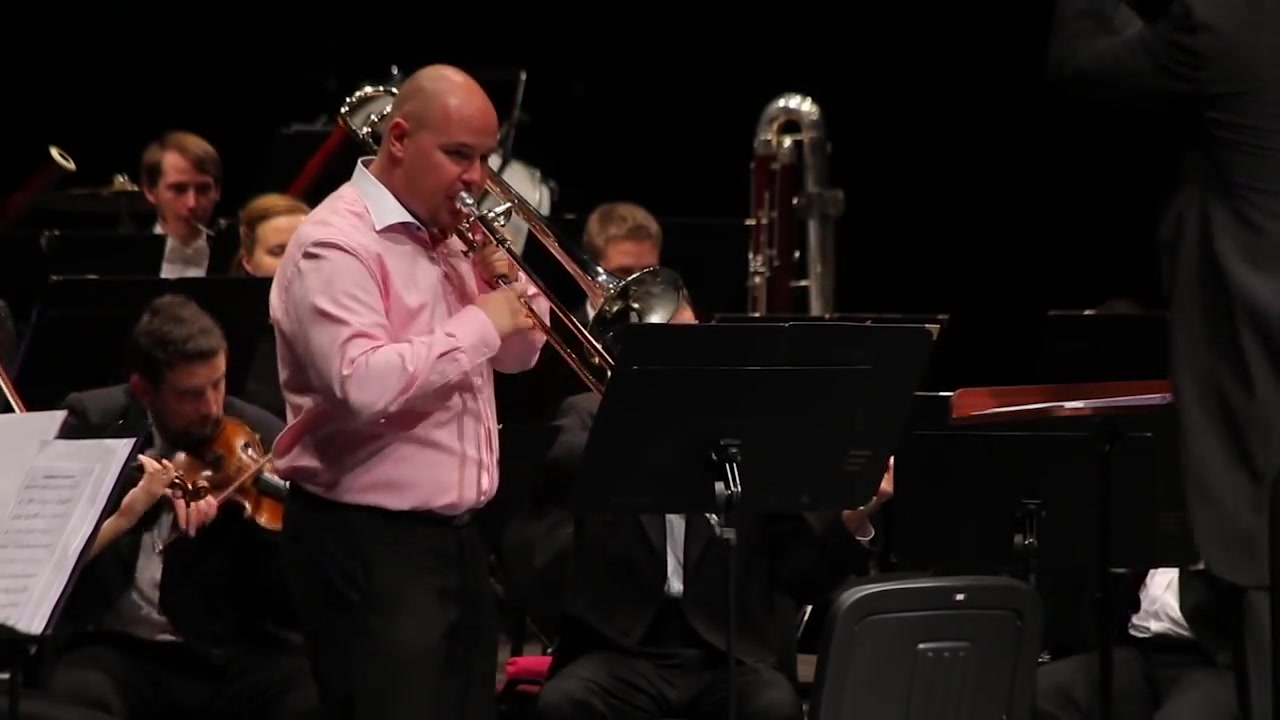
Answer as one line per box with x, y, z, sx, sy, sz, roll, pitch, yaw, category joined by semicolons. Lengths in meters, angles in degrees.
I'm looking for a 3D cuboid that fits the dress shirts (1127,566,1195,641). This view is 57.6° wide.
2.049;0.945;4.530;0.252;0.287;0.153;-9;-35;46;dress shirts

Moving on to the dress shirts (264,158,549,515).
-0.753;-0.046;4.068;0.935;1.047;1.072;6;5;32;dress shirts

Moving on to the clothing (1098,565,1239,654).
2.039;0.942;4.419;0.433;0.296;0.182;-4;23;41;clothing

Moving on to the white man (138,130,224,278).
-2.098;-0.696;5.360;0.366;0.656;0.432;1;10;-19;white man

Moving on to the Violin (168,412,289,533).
-1.718;0.437;4.675;0.223;0.431;0.802;-8;-22;10;Violin

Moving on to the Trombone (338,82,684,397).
-0.527;-0.231;4.429;0.606;0.536;1.780;-21;-37;2;Trombone

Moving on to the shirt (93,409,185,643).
-1.896;0.724;4.628;0.175;0.702;0.247;17;-18;-13;shirt
